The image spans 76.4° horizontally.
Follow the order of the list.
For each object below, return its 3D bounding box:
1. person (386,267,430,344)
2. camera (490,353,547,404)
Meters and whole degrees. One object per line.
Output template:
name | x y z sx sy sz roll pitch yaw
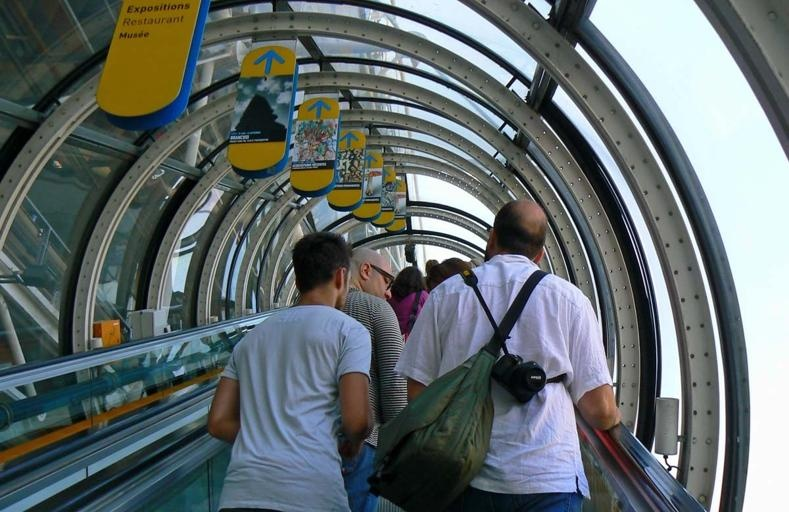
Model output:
person | 0.143 0.868 7.774 0.585 0.545 1.736 10 -53 4
camera | 0.876 0.855 3.489 0.324 0.362 0.357 4 -23 -1
